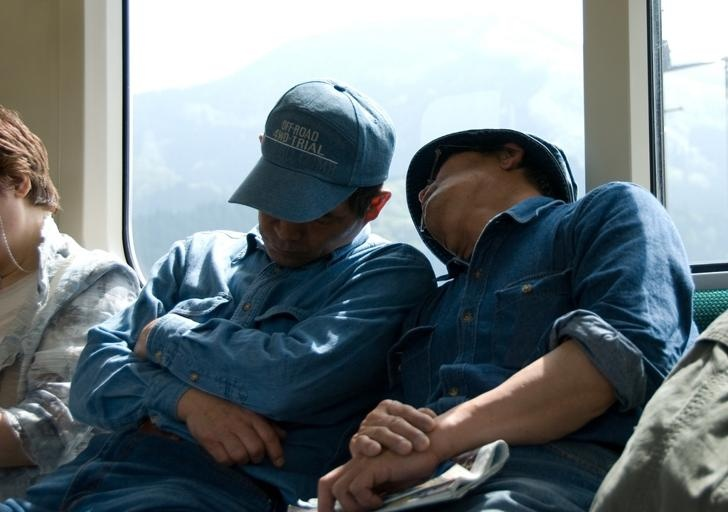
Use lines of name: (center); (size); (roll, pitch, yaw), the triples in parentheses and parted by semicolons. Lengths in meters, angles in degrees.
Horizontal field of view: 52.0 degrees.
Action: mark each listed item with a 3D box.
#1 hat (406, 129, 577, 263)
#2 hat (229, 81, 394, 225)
hat: (0.267, -0.192, 1.813); (0.363, 0.344, 0.136); (-30, 14, 24)
hat: (-0.113, -0.253, 1.912); (0.279, 0.239, 0.407); (30, 37, 17)
